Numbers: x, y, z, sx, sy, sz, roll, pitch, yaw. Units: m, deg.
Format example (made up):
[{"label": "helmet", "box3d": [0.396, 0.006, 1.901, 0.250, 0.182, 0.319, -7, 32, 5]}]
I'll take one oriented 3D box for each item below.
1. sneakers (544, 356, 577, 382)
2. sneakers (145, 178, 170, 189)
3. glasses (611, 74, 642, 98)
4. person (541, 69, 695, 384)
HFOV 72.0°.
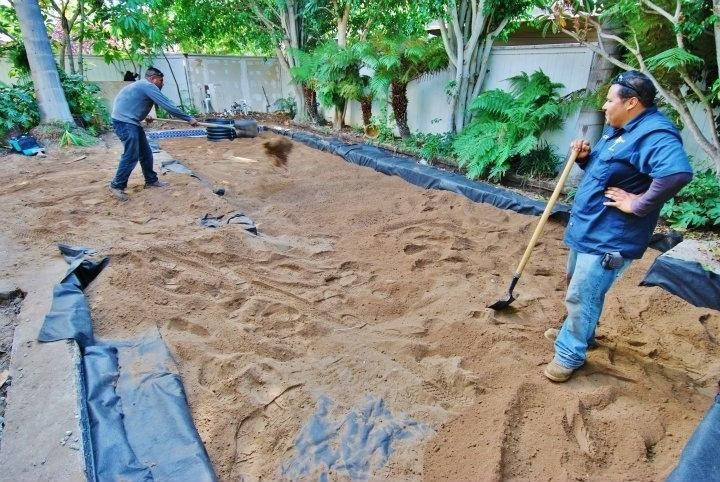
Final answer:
[{"label": "sneakers", "box3d": [1.796, 1.112, 4.362, 0.336, 0.137, 0.126, -5, 34, -13]}, {"label": "sneakers", "box3d": [-3.090, -0.862, 7.501, 0.378, 0.152, 0.131, -5, 27, -14]}, {"label": "glasses", "box3d": [2.170, -1.253, 4.079, 0.191, 0.107, 0.155, 35, 23, 7]}, {"label": "person", "box3d": [2.092, -0.125, 4.247, 0.967, 2.473, 0.865, -6, 25, -5]}]
